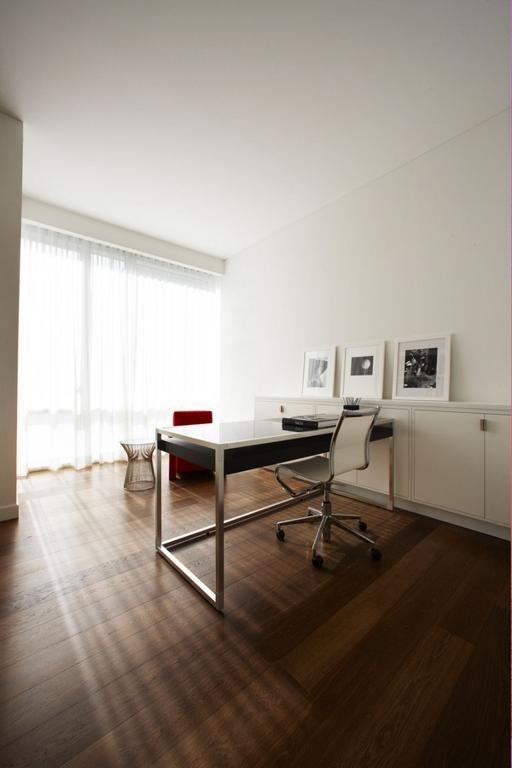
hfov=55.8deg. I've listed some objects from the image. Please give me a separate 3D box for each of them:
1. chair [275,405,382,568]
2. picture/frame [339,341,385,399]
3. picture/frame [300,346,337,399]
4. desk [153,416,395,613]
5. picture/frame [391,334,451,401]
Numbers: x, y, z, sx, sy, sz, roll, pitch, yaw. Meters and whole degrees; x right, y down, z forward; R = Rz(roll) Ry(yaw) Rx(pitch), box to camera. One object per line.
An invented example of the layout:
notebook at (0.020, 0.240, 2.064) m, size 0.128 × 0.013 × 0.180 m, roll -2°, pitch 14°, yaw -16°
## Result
chair at (0.383, 0.518, 2.784) m, size 0.626 × 1.011 × 0.677 m, roll 0°, pitch 2°, yaw -41°
picture/frame at (0.862, -0.107, 3.836) m, size 0.020 × 0.543 × 0.404 m, roll 5°, pitch -4°, yaw -31°
picture/frame at (0.576, -0.106, 4.340) m, size 0.014 × 0.480 × 0.419 m, roll 3°, pitch -2°, yaw -25°
desk at (0.212, 0.535, 2.728) m, size 1.481 × 0.868 × 0.981 m, roll -6°, pitch 10°, yaw -38°
picture/frame at (1.151, -0.113, 3.375) m, size 0.361 × 0.507 × 0.024 m, roll 0°, pitch 26°, yaw 18°
